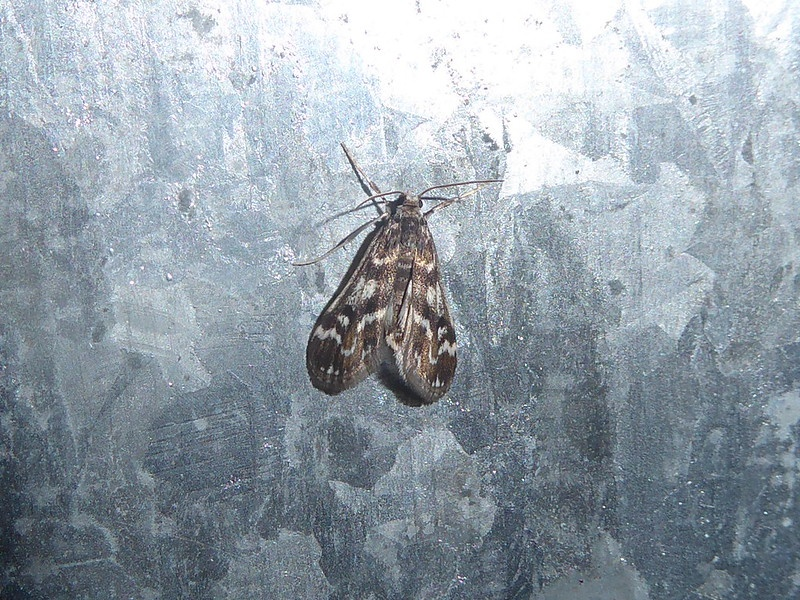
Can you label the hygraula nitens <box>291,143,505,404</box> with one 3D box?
[{"bbox_3d":[-0.042,-0.201,6.680,1.118,1.741,0.419,4,-12,1],"label":"hygraula nitens"}]
